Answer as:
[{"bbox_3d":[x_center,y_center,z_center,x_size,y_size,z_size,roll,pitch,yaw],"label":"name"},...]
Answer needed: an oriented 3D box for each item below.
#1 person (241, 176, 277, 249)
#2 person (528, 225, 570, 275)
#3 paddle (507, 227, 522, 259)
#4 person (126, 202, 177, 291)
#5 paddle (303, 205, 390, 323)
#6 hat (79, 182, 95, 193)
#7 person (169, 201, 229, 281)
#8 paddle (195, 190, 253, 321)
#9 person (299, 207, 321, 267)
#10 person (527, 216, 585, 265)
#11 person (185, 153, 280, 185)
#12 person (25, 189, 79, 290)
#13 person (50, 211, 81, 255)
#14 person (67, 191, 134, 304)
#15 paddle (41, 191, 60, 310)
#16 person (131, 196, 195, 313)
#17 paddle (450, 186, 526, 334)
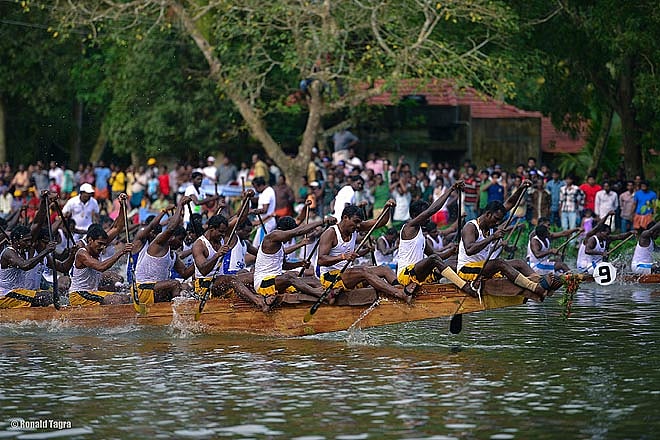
[{"bbox_3d":[-1.663,-0.424,27.770,0.737,0.810,2.271,-17,13,-6],"label":"person"},{"bbox_3d":[5.071,0.680,26.512,1.014,1.285,0.710,2,13,34],"label":"person"},{"bbox_3d":[4.376,0.536,27.738,0.092,0.786,0.079,21,11,-4],"label":"paddle"},{"bbox_3d":[-3.442,0.544,24.243,0.563,2.035,0.557,-24,51,-7],"label":"person"},{"bbox_3d":[0.310,0.914,22.917,0.151,2.839,0.323,22,25,-31],"label":"paddle"},{"bbox_3d":[-6.034,-0.801,28.986,0.282,0.237,0.382,4,6,-43],"label":"hat"},{"bbox_3d":[-2.655,0.473,23.589,0.460,1.657,1.122,15,20,8],"label":"person"},{"bbox_3d":[-2.146,0.791,23.456,0.330,3.107,0.173,28,-25,-5],"label":"paddle"},{"bbox_3d":[-0.437,0.381,24.894,0.342,1.052,0.995,16,-11,-1],"label":"person"},{"bbox_3d":[5.126,0.562,26.456,1.059,1.344,0.766,-5,7,13],"label":"person"},{"bbox_3d":[-2.702,-1.397,33.472,1.656,0.691,1.326,1,-2,-2],"label":"person"},{"bbox_3d":[-5.743,0.814,23.638,1.147,2.090,1.139,4,3,-21],"label":"person"},{"bbox_3d":[-5.747,0.283,25.374,0.288,1.099,0.566,9,23,18],"label":"person"},{"bbox_3d":[-4.557,0.607,23.414,1.122,2.417,0.799,5,-6,2],"label":"person"},{"bbox_3d":[-5.708,0.647,23.833,0.124,2.488,0.239,-22,-12,42],"label":"paddle"},{"bbox_3d":[-3.167,0.830,23.154,1.289,2.564,1.111,6,-2,6],"label":"person"},{"bbox_3d":[3.176,0.866,23.341,0.230,3.526,0.469,12,25,-28],"label":"paddle"}]
